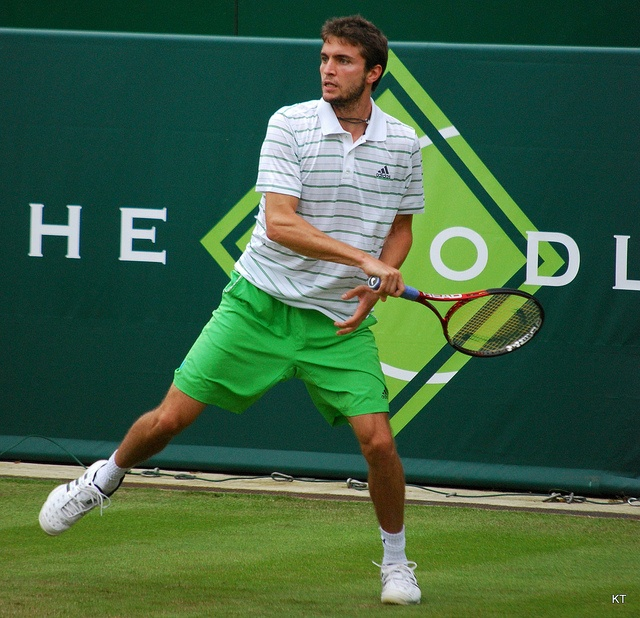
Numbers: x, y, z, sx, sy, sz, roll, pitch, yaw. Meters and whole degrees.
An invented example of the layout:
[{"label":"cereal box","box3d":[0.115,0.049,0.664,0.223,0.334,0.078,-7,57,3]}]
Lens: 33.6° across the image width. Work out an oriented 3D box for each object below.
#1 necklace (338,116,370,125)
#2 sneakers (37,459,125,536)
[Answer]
[{"label":"necklace","box3d":[0.115,-0.662,3.658,0.072,0.014,0.036,1,49,-4]},{"label":"sneakers","box3d":[-0.932,0.711,3.961,0.400,0.142,0.159,-39,21,-25]}]
